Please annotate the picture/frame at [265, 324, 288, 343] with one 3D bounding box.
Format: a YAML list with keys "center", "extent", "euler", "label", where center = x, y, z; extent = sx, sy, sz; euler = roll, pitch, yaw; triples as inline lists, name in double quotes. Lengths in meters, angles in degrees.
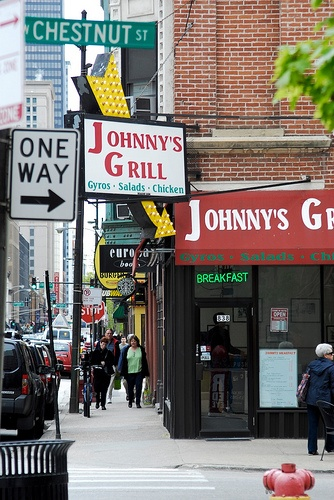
- center: [1.653, 1.272, 13.740]
  extent: [0.329, 0.267, 0.026]
  euler: [0, -6, -6]
  label: "picture/frame"

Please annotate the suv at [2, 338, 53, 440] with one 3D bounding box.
- center: [-2.195, 2.066, 14.191]
  extent: [0.781, 1.104, 1.918]
  euler: [0, 2, 4]
  label: "suv"

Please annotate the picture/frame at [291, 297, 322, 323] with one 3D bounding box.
- center: [2.113, 0.932, 13.791]
  extent: [0.305, 0.321, 0.030]
  euler: [1, -13, -1]
  label: "picture/frame"

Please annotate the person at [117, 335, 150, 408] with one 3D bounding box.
- center: [-0.752, 2.884, 21.587]
  extent: [0.587, 1.684, 0.964]
  euler: [0, -6, -9]
  label: "person"

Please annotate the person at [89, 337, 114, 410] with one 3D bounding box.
- center: [-1.494, 2.852, 21.101]
  extent: [0.519, 1.668, 1.130]
  euler: [0, -6, -4]
  label: "person"

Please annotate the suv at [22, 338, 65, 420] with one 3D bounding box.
- center: [-2.434, 2.540, 18.411]
  extent: [1.066, 1.346, 2.453]
  euler: [0, 3, 3]
  label: "suv"

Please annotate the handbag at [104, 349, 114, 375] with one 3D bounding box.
- center: [-1.351, 2.638, 21.196]
  extent: [0.145, 0.518, 0.328]
  euler: [1, 6, 8]
  label: "handbag"
